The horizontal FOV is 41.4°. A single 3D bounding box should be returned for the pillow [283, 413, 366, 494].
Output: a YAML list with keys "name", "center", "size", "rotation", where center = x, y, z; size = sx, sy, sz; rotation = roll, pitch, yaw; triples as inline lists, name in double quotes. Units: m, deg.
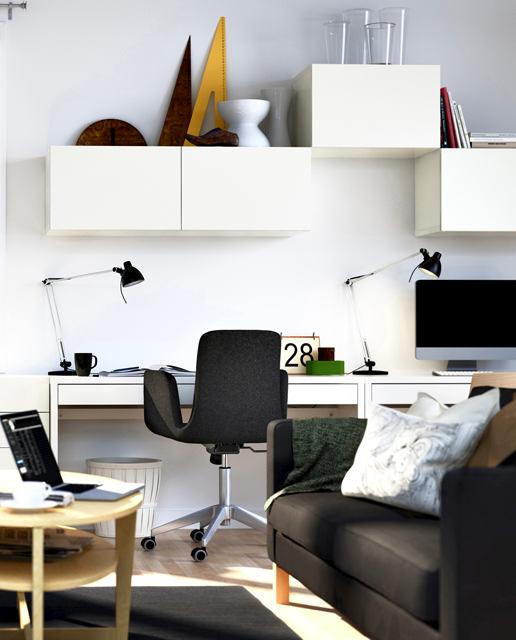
- name: "pillow"
  center: [0.215, 0.430, 2.268]
  size: [0.234, 0.229, 0.205]
  rotation: [2, 3, -13]

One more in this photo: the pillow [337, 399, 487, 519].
- name: "pillow"
  center: [0.369, 0.368, 1.844]
  size: [0.286, 0.244, 0.395]
  rotation: [2, 1, -4]

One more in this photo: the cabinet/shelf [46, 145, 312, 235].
- name: "cabinet/shelf"
  center: [-0.391, -0.615, 3.240]
  size: [1.141, 0.353, 0.279]
  rotation: [1, -3, -3]

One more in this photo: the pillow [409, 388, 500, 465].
- name: "pillow"
  center: [0.544, 0.291, 1.899]
  size: [0.177, 0.163, 0.217]
  rotation: [3, 2, -9]

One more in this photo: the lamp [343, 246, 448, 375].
- name: "lamp"
  center: [0.682, -0.068, 3.642]
  size: [0.498, 0.685, 0.200]
  rotation: [0, 2, -16]

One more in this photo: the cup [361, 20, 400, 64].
- name: "cup"
  center: [0.608, -1.365, 3.396]
  size: [0.153, 0.237, 0.125]
  rotation: [2, -7, 8]

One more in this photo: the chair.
- name: "chair"
  center: [-0.179, 0.518, 3.149]
  size: [0.683, 0.968, 0.663]
  rotation: [0, -2, -3]
